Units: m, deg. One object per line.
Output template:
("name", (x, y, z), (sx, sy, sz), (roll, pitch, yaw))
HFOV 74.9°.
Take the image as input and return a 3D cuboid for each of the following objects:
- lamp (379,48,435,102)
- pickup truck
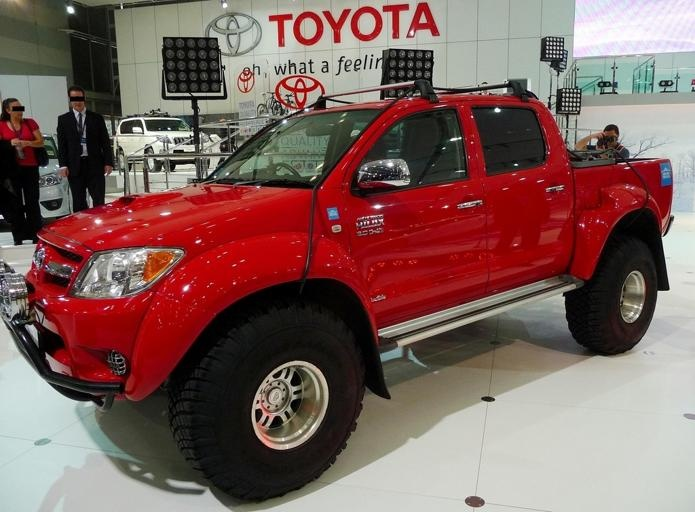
("lamp", (1.213, -3.688, 9.006), (0.902, 0.773, 0.735), (11, 58, 4))
("pickup truck", (0.342, 0.064, 3.663), (4.745, 1.959, 2.303), (-7, 9, -31))
